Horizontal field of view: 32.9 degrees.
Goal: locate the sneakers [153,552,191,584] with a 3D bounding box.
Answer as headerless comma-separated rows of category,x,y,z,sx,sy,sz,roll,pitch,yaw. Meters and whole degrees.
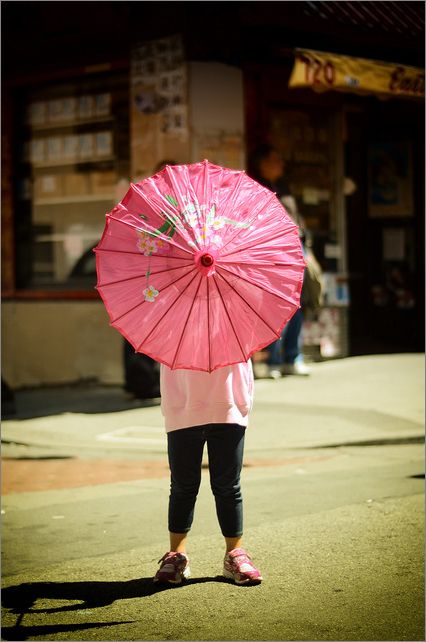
sneakers,-0.196,1.103,3.207,0.089,0.083,0.196,-1,-8,7

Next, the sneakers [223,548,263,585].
sneakers,0.123,1.097,3.248,0.094,0.100,0.228,-1,-5,-25

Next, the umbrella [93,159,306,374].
umbrella,-0.048,-0.241,2.988,0.861,0.851,0.414,-2,4,-7
